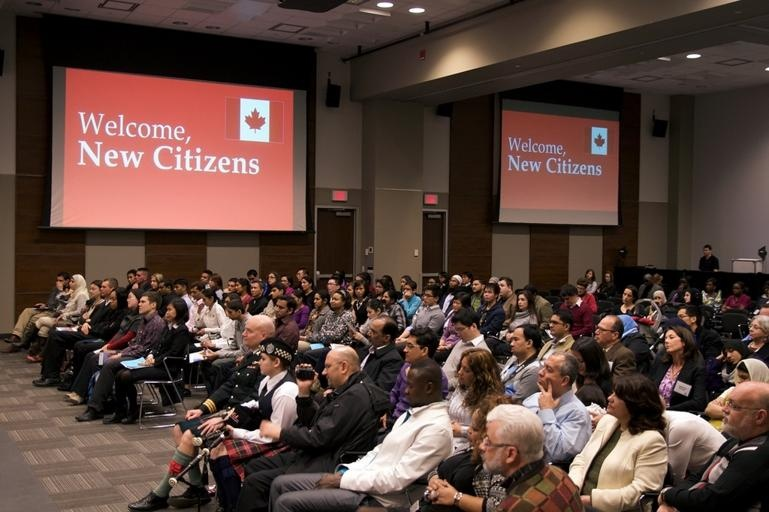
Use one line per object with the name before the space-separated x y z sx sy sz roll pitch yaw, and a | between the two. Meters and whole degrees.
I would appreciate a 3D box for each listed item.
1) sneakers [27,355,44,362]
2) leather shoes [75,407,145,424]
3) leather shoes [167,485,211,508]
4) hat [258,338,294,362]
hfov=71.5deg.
sneakers | -6.763 1.976 10.298 0.299 0.125 0.159 7 -2 21
leather shoes | -3.676 2.146 7.152 0.457 0.201 0.159 9 -10 -17
leather shoes | -1.819 2.264 4.982 0.400 0.177 0.160 4 -6 -23
hat | -0.984 0.822 4.786 0.241 0.134 0.194 27 -2 32
